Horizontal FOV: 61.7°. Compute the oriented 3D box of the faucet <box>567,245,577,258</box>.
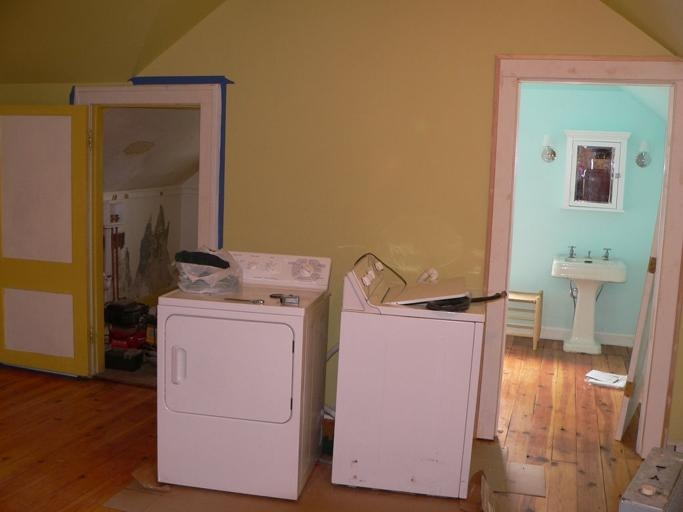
[{"bbox_3d":[2.320,-0.045,5.711,0.078,0.103,0.175,8,13,21],"label":"faucet"}]

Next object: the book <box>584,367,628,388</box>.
[{"bbox_3d":[2.266,1.032,4.872,0.311,0.038,0.377,9,14,25],"label":"book"}]

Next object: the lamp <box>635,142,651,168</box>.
[{"bbox_3d":[2.889,-0.970,5.432,0.175,0.205,0.190,-2,-2,7],"label":"lamp"}]

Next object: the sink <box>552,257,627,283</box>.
[{"bbox_3d":[2.413,0.143,5.537,0.655,0.203,0.400,8,13,21],"label":"sink"}]

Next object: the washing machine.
[{"bbox_3d":[0.353,0.641,3.841,1.028,1.688,1.138,2,4,6],"label":"washing machine"}]

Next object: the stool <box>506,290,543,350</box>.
[{"bbox_3d":[1.873,0.610,5.793,0.363,0.535,0.423,7,13,19],"label":"stool"}]

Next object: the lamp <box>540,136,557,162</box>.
[{"bbox_3d":[2.097,-1.073,5.726,0.163,0.271,0.098,7,13,20],"label":"lamp"}]
